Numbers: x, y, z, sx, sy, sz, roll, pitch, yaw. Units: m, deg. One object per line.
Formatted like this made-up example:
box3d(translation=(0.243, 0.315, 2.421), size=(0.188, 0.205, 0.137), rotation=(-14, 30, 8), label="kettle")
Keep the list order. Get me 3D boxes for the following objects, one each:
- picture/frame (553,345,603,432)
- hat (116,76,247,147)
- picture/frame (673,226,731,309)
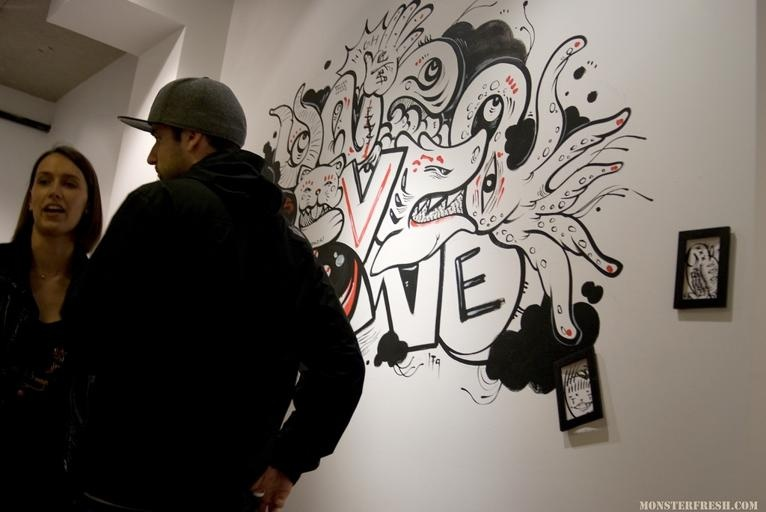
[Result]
box3d(translation=(0.836, 0.568, 2.609), size=(0.187, 0.331, 0.031), rotation=(-12, 11, 2), label="picture/frame")
box3d(translation=(-0.737, -0.531, 2.383), size=(0.328, 0.223, 0.251), rotation=(12, 0, -2), label="hat")
box3d(translation=(1.261, 0.046, 2.410), size=(0.182, 0.359, 0.020), rotation=(-6, -39, 40), label="picture/frame")
